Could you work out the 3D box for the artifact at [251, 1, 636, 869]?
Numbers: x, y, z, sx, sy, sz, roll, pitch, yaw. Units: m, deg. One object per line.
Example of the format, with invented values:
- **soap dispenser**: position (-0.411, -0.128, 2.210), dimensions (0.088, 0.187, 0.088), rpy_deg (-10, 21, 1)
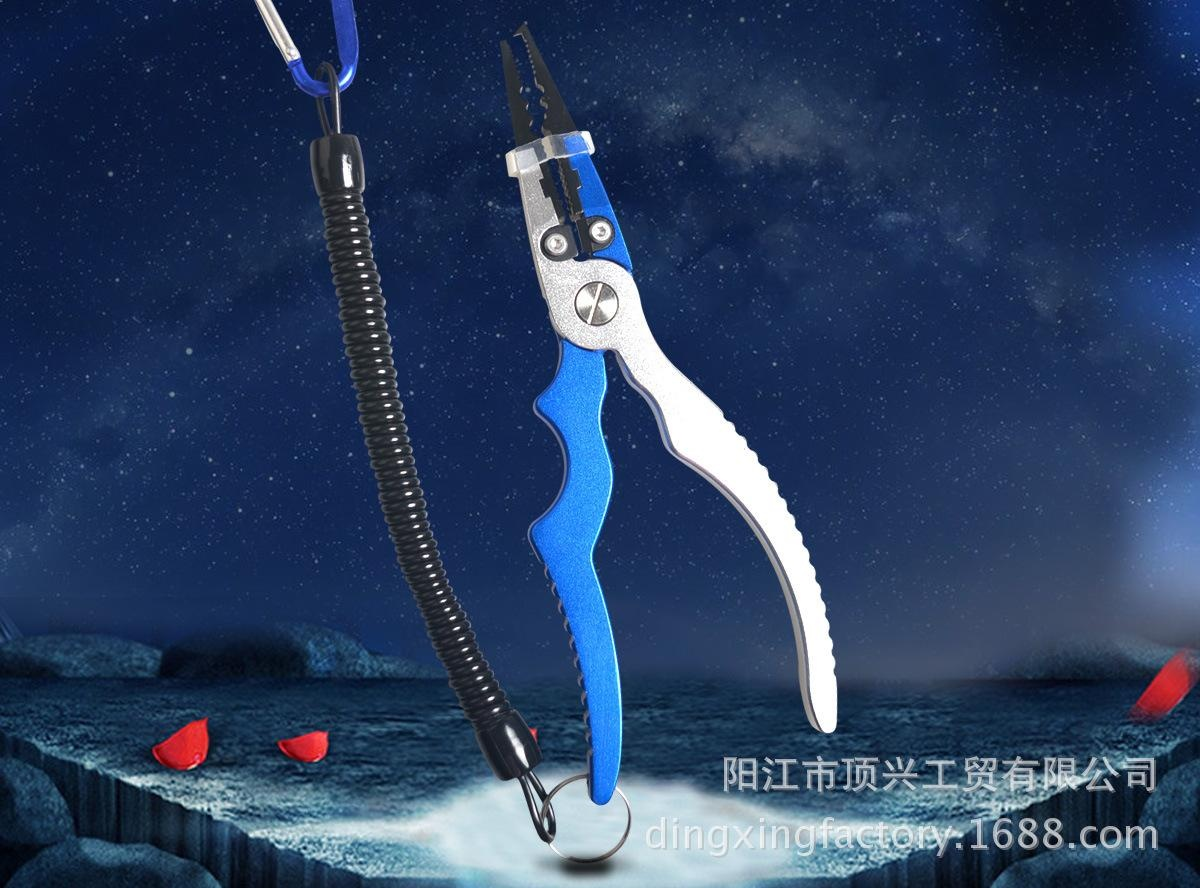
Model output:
- **artifact**: position (-0.262, -0.004, 2.020), dimensions (0.399, 1.311, 0.149), rpy_deg (-15, 0, -10)
